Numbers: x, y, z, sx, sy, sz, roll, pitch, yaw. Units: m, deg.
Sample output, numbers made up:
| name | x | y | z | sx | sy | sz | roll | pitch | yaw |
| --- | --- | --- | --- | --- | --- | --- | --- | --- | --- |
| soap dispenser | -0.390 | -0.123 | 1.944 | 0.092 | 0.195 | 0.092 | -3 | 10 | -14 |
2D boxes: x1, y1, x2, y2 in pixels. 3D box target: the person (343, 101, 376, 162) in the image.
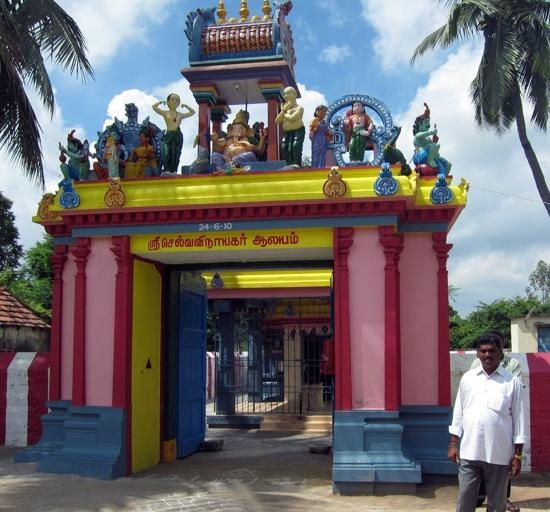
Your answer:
| name | x | y | z | sx | sy | sz | roll | pitch | yaw |
| --- | --- | --- | --- | --- | --- | --- | --- | --- | --- |
| person | 1.267 | -1.842 | 12.495 | 0.424 | 1.005 | 0.558 | 0 | -2 | 0 |

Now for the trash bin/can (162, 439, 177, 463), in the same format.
| name | x | y | z | sx | sy | sz | roll | pitch | yaw |
| --- | --- | --- | --- | --- | --- | --- | --- | --- | --- |
| trash bin/can | -1.624 | 3.025 | 12.946 | 0.121 | 0.319 | 0.350 | -1 | -3 | 27 |

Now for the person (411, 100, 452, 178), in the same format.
| name | x | y | z | sx | sy | sz | roll | pitch | yaw |
| --- | --- | --- | --- | --- | --- | --- | --- | --- | --- |
| person | 2.338 | -1.705 | 12.500 | 0.522 | 1.101 | 0.275 | 0 | -2 | 12 |

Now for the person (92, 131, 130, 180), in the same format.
| name | x | y | z | sx | sy | sz | roll | pitch | yaw |
| --- | --- | --- | --- | --- | --- | --- | --- | --- | --- |
| person | -2.506 | -1.506 | 12.739 | 0.467 | 0.779 | 0.227 | -10 | 38 | -29 |

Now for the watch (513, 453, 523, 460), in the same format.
| name | x | y | z | sx | sy | sz | roll | pitch | yaw |
| --- | --- | --- | --- | --- | --- | --- | --- | --- | --- |
| watch | 2.518 | 2.101 | 8.673 | 0.038 | 0.071 | 0.080 | 2 | -9 | -24 |

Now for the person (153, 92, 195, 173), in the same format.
| name | x | y | z | sx | sy | sz | roll | pitch | yaw |
| --- | --- | --- | --- | --- | --- | --- | --- | --- | --- |
| person | -1.543 | -1.838 | 12.712 | 0.601 | 1.218 | 0.235 | 1 | -2 | -9 |

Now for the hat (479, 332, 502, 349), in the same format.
| name | x | y | z | sx | sy | sz | roll | pitch | yaw |
| --- | --- | --- | --- | --- | --- | --- | --- | --- | --- |
| hat | 2.266 | 0.894 | 8.800 | 0.155 | 0.211 | 0.205 | -1 | -10 | 14 |

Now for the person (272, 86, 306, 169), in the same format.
| name | x | y | z | sx | sy | sz | roll | pitch | yaw |
| --- | --- | --- | --- | --- | --- | --- | --- | --- | --- |
| person | 0.228 | -1.916 | 12.484 | 0.402 | 1.247 | 0.463 | 0 | -2 | 0 |

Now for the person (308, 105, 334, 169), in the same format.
| name | x | y | z | sx | sy | sz | roll | pitch | yaw |
| --- | --- | --- | --- | --- | --- | --- | --- | --- | --- |
| person | 0.675 | -1.737 | 12.449 | 0.257 | 0.943 | 0.520 | 0 | -2 | 16 |

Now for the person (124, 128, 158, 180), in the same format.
| name | x | y | z | sx | sy | sz | roll | pitch | yaw |
| --- | --- | --- | --- | --- | --- | --- | --- | --- | --- |
| person | -2.043 | -1.523 | 12.750 | 0.438 | 0.795 | 0.430 | -1 | -5 | 3 |
